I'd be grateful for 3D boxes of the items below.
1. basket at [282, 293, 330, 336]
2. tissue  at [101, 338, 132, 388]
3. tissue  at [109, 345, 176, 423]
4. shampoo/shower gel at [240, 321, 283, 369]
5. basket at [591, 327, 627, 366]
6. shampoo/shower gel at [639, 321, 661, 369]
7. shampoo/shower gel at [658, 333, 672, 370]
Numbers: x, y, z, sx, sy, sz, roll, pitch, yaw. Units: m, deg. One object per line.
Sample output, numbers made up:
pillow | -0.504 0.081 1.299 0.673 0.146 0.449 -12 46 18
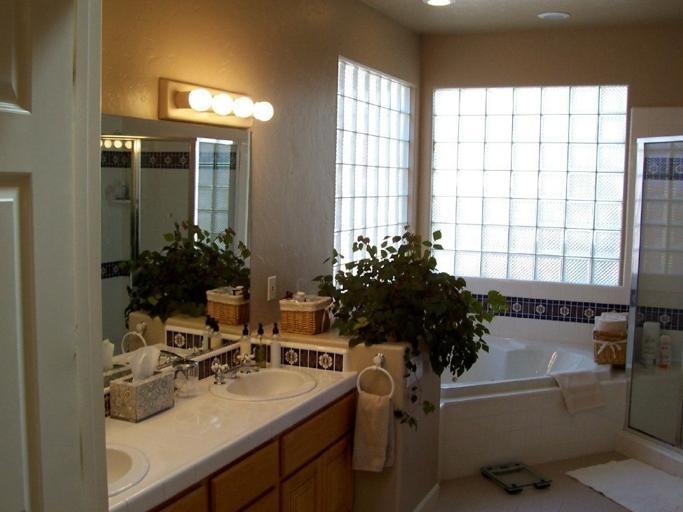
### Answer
basket | -0.191 0.305 3.028 0.269 0.220 0.264 0 2 -27
tissue  | -0.874 0.406 2.118 0.028 0.197 0.130 11 12 22
tissue  | -0.785 0.509 2.128 0.126 0.279 0.260 2 4 26
shampoo/shower gel | -0.413 0.466 2.786 0.199 0.216 0.073 1 -8 -20
basket | 1.987 0.680 4.035 0.215 0.236 0.221 -2 -6 41
shampoo/shower gel | 2.137 0.608 3.771 0.061 0.302 0.147 -5 16 -44
shampoo/shower gel | 2.198 0.648 3.700 0.031 0.223 0.096 1 13 -25
